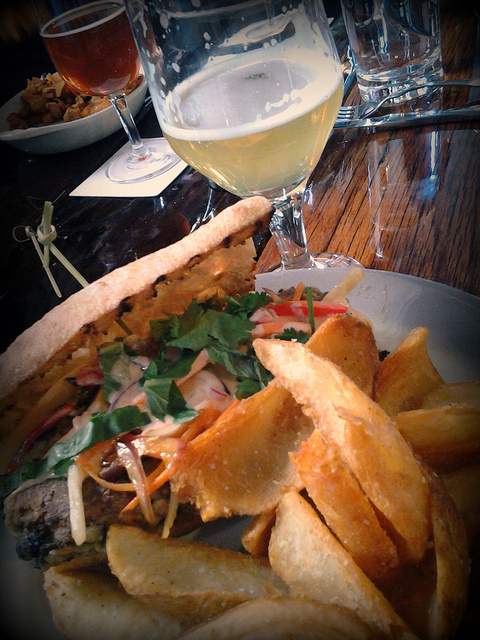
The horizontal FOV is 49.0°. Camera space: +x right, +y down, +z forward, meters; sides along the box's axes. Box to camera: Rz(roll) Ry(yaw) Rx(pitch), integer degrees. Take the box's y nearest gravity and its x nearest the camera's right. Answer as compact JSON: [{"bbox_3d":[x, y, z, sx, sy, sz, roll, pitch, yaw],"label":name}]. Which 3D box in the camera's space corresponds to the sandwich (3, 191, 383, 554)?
[{"bbox_3d":[-0.036,0.095,0.935,0.554,0.201,0.557,2,47,17],"label":"sandwich"}]
